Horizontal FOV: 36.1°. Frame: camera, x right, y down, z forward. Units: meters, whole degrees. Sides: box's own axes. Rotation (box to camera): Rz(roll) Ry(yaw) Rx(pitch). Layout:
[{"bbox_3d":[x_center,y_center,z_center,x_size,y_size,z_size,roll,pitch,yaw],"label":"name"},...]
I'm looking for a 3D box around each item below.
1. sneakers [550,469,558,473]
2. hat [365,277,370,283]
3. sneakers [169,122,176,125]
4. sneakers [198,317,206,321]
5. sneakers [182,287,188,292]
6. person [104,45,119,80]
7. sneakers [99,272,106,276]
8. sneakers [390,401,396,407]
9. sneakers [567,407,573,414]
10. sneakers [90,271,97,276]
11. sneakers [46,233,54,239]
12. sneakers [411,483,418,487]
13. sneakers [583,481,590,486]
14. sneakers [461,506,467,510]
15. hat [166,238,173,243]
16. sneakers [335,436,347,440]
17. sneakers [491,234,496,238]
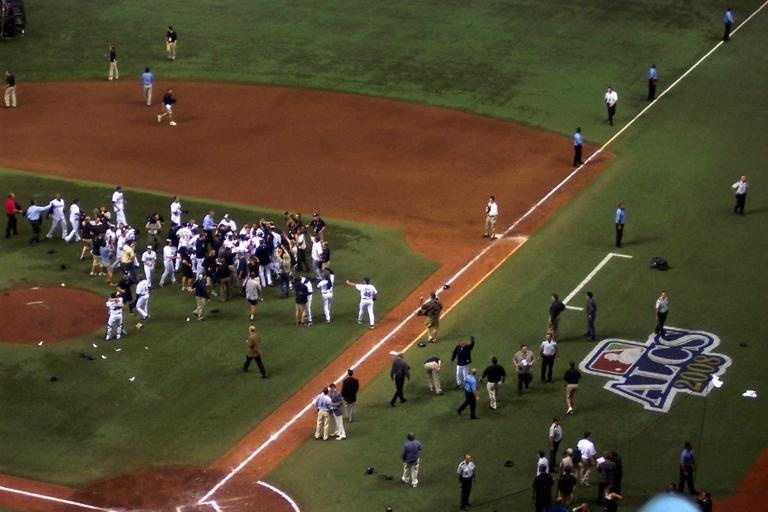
[{"bbox_3d":[7.059,8.941,48.860,0.334,0.217,0.118,-9,24,3],"label":"sneakers"},{"bbox_3d":[-0.800,1.169,55.315,0.218,0.243,0.257,3,36,1],"label":"hat"},{"bbox_3d":[-12.947,-7.985,71.854,0.383,0.158,0.179,8,20,33],"label":"sneakers"},{"bbox_3d":[-8.763,3.066,56.589,0.291,0.133,0.186,-3,-1,-23],"label":"sneakers"},{"bbox_3d":[-9.911,1.707,58.666,0.146,0.117,0.353,7,-3,-30],"label":"sneakers"},{"bbox_3d":[-17.858,-12.440,77.040,1.106,2.713,0.895,5,63,-13],"label":"person"},{"bbox_3d":[-14.216,0.966,59.258,0.150,0.147,0.356,5,16,-29],"label":"sneakers"},{"bbox_3d":[0.406,6.549,51.954,0.246,0.324,0.199,4,-7,-29],"label":"sneakers"},{"bbox_3d":[8.069,6.759,51.046,0.188,0.343,0.145,-2,64,-6],"label":"sneakers"},{"bbox_3d":[-14.646,0.944,59.282,0.338,0.214,0.148,-1,32,-6],"label":"sneakers"},{"bbox_3d":[-17.693,-0.973,62.101,0.382,0.289,0.213,14,59,17],"label":"sneakers"},{"bbox_3d":[1.245,9.419,48.416,0.187,0.090,0.255,0,1,-2],"label":"sneakers"},{"bbox_3d":[8.309,9.364,48.333,0.222,0.105,0.208,-17,-8,2],"label":"sneakers"},{"bbox_3d":[3.269,10.149,47.463,0.258,0.104,0.119,1,25,-14],"label":"sneakers"},{"bbox_3d":[-10.749,-0.638,58.975,0.378,0.240,0.324,3,8,-14],"label":"hat"},{"bbox_3d":[-1.853,7.830,50.531,0.478,0.180,0.155,2,11,1],"label":"sneakers"},{"bbox_3d":[5.866,-0.987,63.152,0.068,0.179,0.292,-2,4,31],"label":"sneakers"}]
